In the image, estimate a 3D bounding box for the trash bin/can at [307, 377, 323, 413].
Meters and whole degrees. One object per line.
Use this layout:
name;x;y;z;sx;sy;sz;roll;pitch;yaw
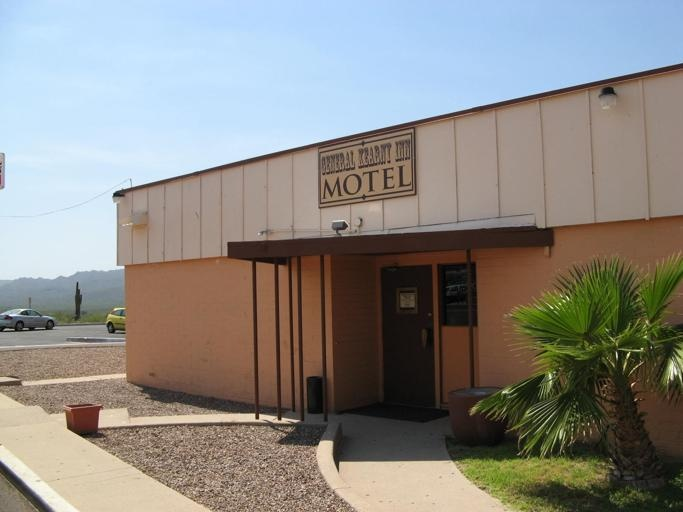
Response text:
trash bin/can;-0.542;2.663;12.197;0.307;0.673;0.246;-1;1;4

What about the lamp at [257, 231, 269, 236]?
lamp;-1.670;-0.495;13.525;0.170;0.139;0.043;-4;-5;23

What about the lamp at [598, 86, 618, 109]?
lamp;4.094;-2.404;9.814;0.250;0.312;0.326;2;-34;27

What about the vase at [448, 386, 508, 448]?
vase;2.029;2.424;9.779;0.788;0.744;0.851;-1;-9;1

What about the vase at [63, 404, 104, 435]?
vase;-4.450;2.765;10.941;0.583;0.480;0.431;0;-1;-15

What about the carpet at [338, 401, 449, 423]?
carpet;1.092;2.997;12.174;1.870;0.071;1.153;-1;1;36

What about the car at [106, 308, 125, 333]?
car;-12.906;3.677;36.317;0.865;1.519;2.456;-2;1;-23

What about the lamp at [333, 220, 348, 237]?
lamp;-0.077;-0.565;11.948;0.275;0.344;0.280;3;-20;17

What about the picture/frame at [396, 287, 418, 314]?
picture/frame;1.312;0.897;12.782;0.482;0.543;0.038;-3;-7;43
